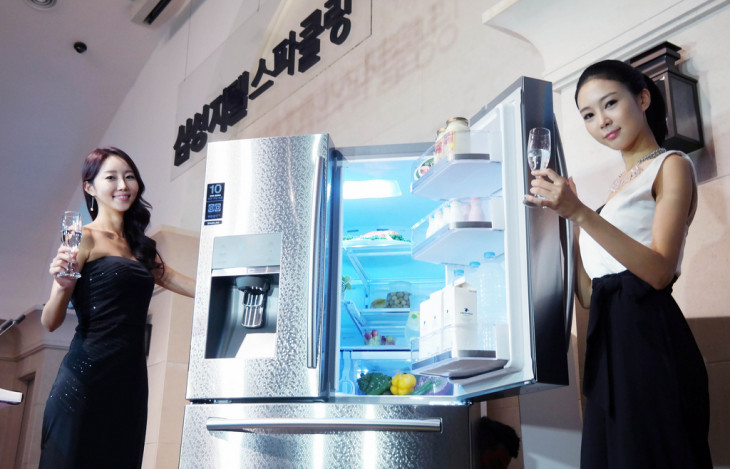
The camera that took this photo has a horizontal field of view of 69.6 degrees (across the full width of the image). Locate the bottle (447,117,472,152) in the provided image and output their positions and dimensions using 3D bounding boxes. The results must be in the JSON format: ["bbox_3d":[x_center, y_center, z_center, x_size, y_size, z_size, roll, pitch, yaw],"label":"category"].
[{"bbox_3d":[0.403,-0.416,2.283,0.102,0.168,0.100,0,4,0],"label":"bottle"}]

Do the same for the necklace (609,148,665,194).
[{"bbox_3d":[1.029,-0.247,1.998,0.206,0.043,0.153,-40,2,21],"label":"necklace"}]

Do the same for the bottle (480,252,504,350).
[{"bbox_3d":[0.523,0.285,2.166,0.110,0.355,0.134,-2,-11,13],"label":"bottle"}]

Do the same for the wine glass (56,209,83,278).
[{"bbox_3d":[-1.297,0.042,2.303,0.085,0.279,0.139,6,-12,-29],"label":"wine glass"}]
